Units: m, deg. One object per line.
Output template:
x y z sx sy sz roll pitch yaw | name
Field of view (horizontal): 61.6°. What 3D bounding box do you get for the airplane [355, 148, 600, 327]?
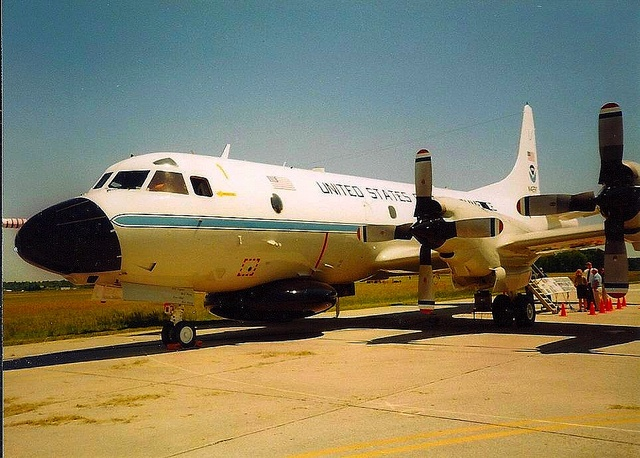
4.320 0.265 14.435 6.926 3.041 5.589 -3 -3 44 | airplane
